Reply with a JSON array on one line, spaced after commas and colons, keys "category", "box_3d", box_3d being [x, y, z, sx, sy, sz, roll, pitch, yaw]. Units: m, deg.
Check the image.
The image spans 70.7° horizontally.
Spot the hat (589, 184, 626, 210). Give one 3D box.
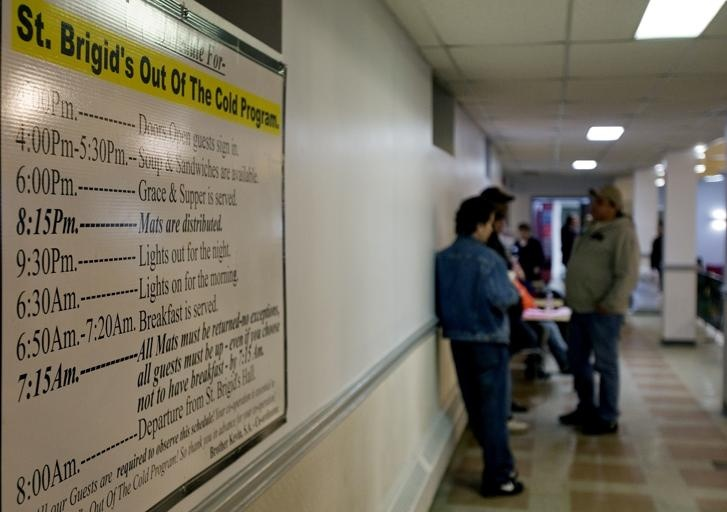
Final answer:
[{"category": "hat", "box_3d": [2.116, -0.531, 4.431, 0.272, 0.096, 0.180, 24, 8, -2]}]

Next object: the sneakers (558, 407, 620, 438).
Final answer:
[{"category": "sneakers", "box_3d": [2.007, 1.478, 4.615, 0.515, 0.234, 0.184, -5, 1, 36]}]

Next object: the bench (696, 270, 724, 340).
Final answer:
[{"category": "bench", "box_3d": [4.858, 0.719, 7.178, 0.044, 0.652, 0.903, -2, 10, 11]}]
